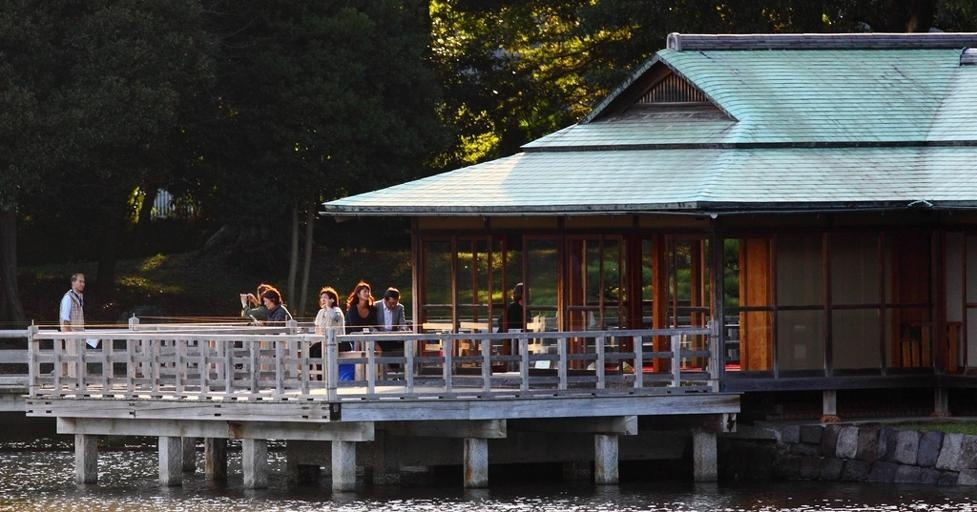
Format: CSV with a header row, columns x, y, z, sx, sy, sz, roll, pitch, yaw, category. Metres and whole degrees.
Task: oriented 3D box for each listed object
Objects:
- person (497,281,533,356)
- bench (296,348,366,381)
x,y,z,sx,sy,sz,roll,pitch,yaw,category
0.722,1.946,62.838,0.857,2.063,0.721,0,14,7,person
-4.402,3.271,61.133,1.488,0.807,1.389,-1,-5,7,bench
